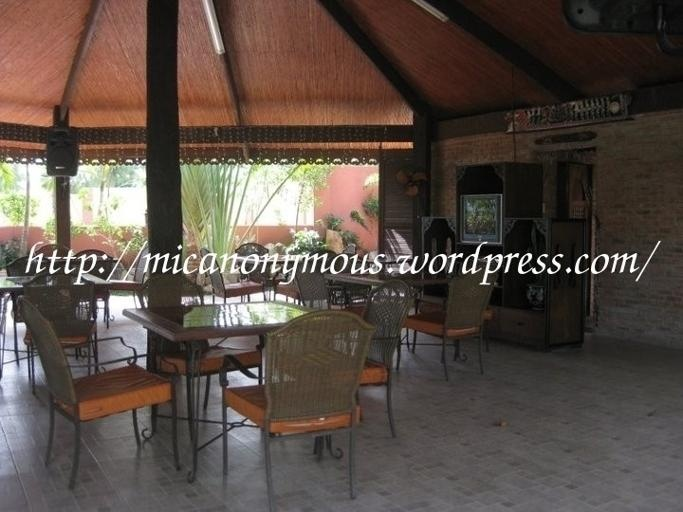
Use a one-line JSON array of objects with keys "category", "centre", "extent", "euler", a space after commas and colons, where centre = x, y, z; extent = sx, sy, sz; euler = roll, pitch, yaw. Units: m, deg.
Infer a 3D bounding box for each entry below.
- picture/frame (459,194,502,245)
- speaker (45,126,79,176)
[{"category": "picture/frame", "centre": [1.897, -0.493, 7.490], "extent": [0.356, 0.669, 0.671], "euler": [0, 1, -32]}, {"category": "speaker", "centre": [-4.063, -1.515, 8.050], "extent": [0.414, 0.693, 0.283], "euler": [-3, 6, -30]}]
